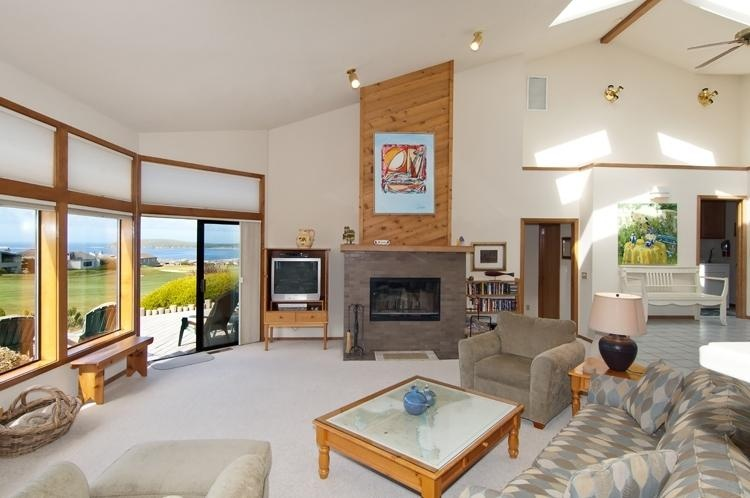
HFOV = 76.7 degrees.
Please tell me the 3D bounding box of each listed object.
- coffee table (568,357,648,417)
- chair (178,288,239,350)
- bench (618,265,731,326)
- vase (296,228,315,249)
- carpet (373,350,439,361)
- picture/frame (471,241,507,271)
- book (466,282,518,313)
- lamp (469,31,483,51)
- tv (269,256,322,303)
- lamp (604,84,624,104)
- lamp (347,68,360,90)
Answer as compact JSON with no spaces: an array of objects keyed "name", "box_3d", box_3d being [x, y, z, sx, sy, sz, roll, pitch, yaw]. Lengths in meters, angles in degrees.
[{"name":"coffee table","box_3d":[2.751,1.534,5.771,0.806,0.730,0.799,-2,4,-41]},{"name":"chair","box_3d":[-3.000,1.289,8.394,0.783,0.983,0.695,3,-1,0]},{"name":"bench","box_3d":[6.063,0.951,9.719,2.575,1.201,1.149,-2,-2,-18]},{"name":"vase","box_3d":[-1.231,-0.168,8.661,0.247,0.364,0.447,-4,-2,27]},{"name":"carpet","box_3d":[0.509,1.796,7.889,1.036,0.092,0.399,-3,-2,1]},{"name":"picture/frame","box_3d":[2.207,0.133,9.173,0.571,0.487,0.057,0,1,0]},{"name":"book","box_3d":[2.238,0.918,9.017,0.992,0.457,0.290,-2,-2,-11]},{"name":"lamp","box_3d":[1.712,-3.451,7.980,0.214,0.245,0.639,-3,-2,14]},{"name":"tv","box_3d":[-1.397,0.548,8.695,1.289,1.098,0.690,0,2,-3]},{"name":"lamp","box_3d":[4.926,-3.194,9.726,0.444,0.347,0.126,-2,-2,-17]},{"name":"lamp","box_3d":[-0.371,-2.785,7.825,0.207,0.268,0.333,-3,-2,-3]}]
